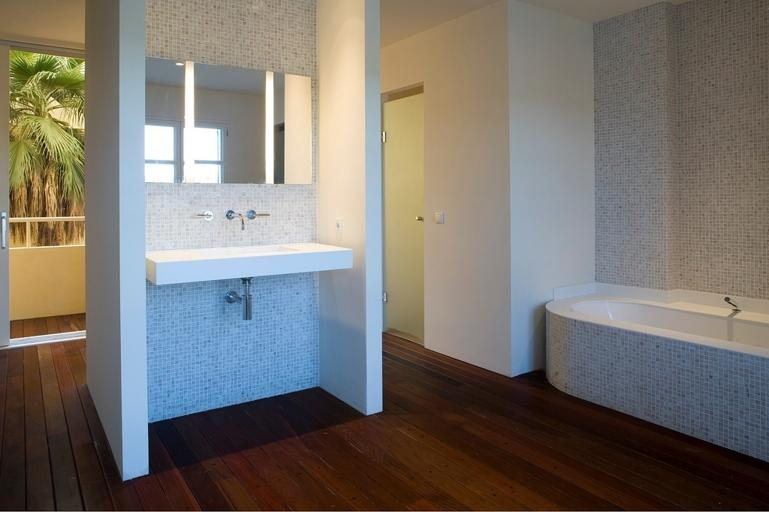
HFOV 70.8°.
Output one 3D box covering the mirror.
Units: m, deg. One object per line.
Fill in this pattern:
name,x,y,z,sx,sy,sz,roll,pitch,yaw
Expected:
mirror,-1.243,-1.072,4.305,1.510,1.014,0.022,4,9,13
